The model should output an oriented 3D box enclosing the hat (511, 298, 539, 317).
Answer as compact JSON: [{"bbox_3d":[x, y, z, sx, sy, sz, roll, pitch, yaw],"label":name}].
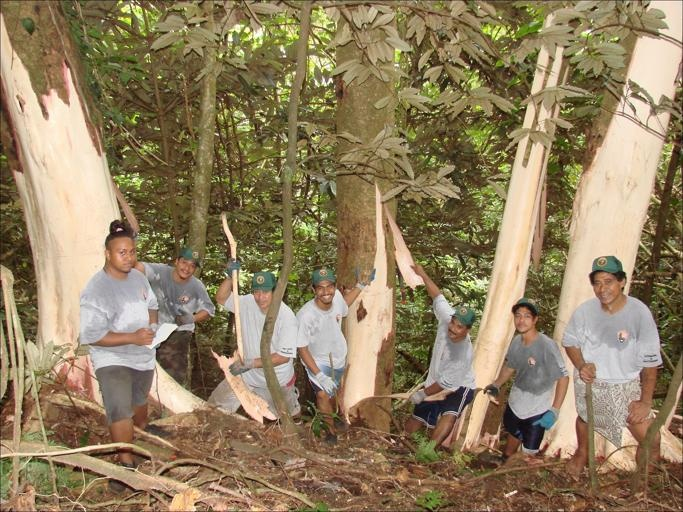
[{"bbox_3d":[1.965,0.532,6.304,0.315,0.192,0.166,2,7,-16],"label":"hat"}]

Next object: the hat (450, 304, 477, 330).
[{"bbox_3d":[1.402,0.698,6.750,0.185,0.151,0.275,32,-2,37],"label":"hat"}]

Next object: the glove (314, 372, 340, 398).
[{"bbox_3d":[-0.172,1.447,6.765,0.290,0.221,0.086,45,0,-9],"label":"glove"}]

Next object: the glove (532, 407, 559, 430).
[{"bbox_3d":[2.179,1.740,6.335,0.158,0.278,0.076,41,28,13],"label":"glove"}]

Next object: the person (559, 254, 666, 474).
[{"bbox_3d":[2.697,1.235,6.089,1.006,2.408,0.763,4,19,36],"label":"person"}]

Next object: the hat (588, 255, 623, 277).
[{"bbox_3d":[2.649,0.099,5.908,0.264,0.183,0.328,8,8,35],"label":"hat"}]

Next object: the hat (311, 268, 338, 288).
[{"bbox_3d":[-0.210,0.249,6.712,0.238,0.212,0.215,4,7,1],"label":"hat"}]

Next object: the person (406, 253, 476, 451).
[{"bbox_3d":[1.196,1.184,6.880,0.546,2.067,0.966,0,8,-23],"label":"person"}]

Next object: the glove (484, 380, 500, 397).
[{"bbox_3d":[1.624,1.455,6.495,0.181,0.146,0.068,-11,-7,12],"label":"glove"}]

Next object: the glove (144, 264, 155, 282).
[{"bbox_3d":[-2.323,0.198,7.201,0.042,0.175,0.175,-19,-29,-3],"label":"glove"}]

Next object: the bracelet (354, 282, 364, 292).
[{"bbox_3d":[0.208,0.372,7.093,0.079,0.077,0.079,12,-31,-40],"label":"bracelet"}]

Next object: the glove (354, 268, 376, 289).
[{"bbox_3d":[0.285,0.289,7.204,0.279,0.344,0.195,3,-5,20],"label":"glove"}]

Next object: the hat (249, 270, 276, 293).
[{"bbox_3d":[-0.850,0.274,6.461,0.243,0.226,0.193,2,7,-11],"label":"hat"}]

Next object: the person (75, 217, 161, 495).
[{"bbox_3d":[-2.061,0.880,5.584,0.661,2.286,0.938,4,7,5],"label":"person"}]

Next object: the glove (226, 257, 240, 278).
[{"bbox_3d":[-1.067,0.096,5.863,0.107,0.182,0.307,2,7,-16],"label":"glove"}]

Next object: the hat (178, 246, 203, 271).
[{"bbox_3d":[-1.782,0.030,6.977,0.194,0.133,0.260,33,-6,-35],"label":"hat"}]

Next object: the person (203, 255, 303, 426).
[{"bbox_3d":[-0.971,1.000,6.561,1.055,1.704,1.223,3,7,-1],"label":"person"}]
